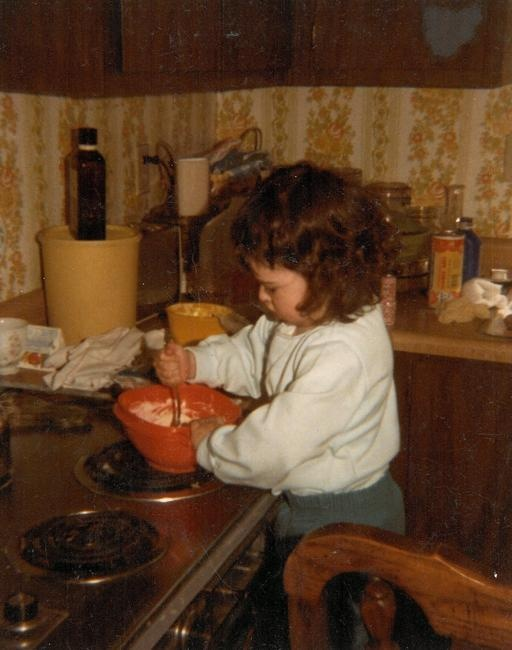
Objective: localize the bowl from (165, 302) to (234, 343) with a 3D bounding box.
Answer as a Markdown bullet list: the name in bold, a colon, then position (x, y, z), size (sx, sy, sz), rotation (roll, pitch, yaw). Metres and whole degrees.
- **bowl**: position (-0.114, 0.009, 1.106), size (0.105, 0.045, 0.100), rotation (8, -4, 1)

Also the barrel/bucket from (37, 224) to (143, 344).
- **barrel/bucket**: position (-0.253, -0.086, 1.166), size (0.222, 0.214, 0.213), rotation (2, 16, -1)

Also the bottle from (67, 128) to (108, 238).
- **bottle**: position (-0.327, -0.268, 1.183), size (0.071, 0.198, 0.173), rotation (-4, 14, -16)

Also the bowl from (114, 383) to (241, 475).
- **bowl**: position (-0.097, 0.108, 0.725), size (0.114, 0.049, 0.115), rotation (6, 17, -2)
